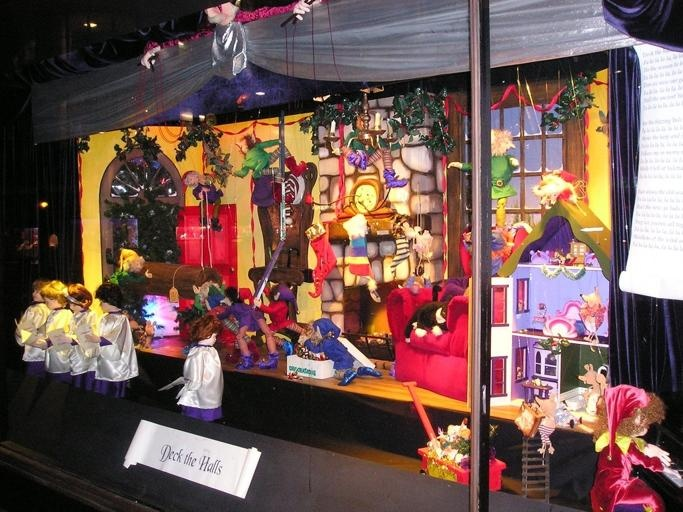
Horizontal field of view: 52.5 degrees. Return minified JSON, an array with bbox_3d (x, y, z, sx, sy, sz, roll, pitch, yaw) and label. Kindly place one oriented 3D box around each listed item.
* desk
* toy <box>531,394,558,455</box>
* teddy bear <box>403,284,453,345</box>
[{"bbox_3d":[0.042,1.115,4.653,3.139,0.651,0.194,3,0,28],"label":"desk"},{"bbox_3d":[1.213,1.006,4.109,0.131,0.346,0.062,2,-1,17],"label":"toy"},{"bbox_3d":[0.555,0.423,4.528,0.052,0.228,0.325,3,0,-44],"label":"teddy bear"}]
